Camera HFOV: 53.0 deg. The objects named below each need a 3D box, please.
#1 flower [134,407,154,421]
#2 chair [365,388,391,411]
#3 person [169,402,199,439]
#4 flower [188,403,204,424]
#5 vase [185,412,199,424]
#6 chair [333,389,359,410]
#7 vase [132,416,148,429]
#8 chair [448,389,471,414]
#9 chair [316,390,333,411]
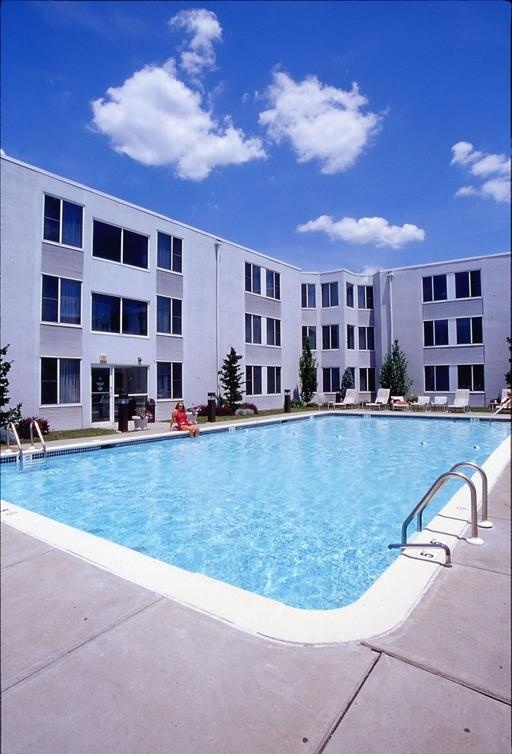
[{"bbox_3d":[-4.039,1.296,18.557,0.512,0.759,0.588,5,-6,-29],"label":"flower"},{"bbox_3d":[6.257,1.095,26.006,0.665,1.194,1.237,-1,-1,40],"label":"chair"},{"bbox_3d":[-2.368,1.322,16.621,0.791,0.938,1.872,-1,-1,-18],"label":"person"},{"bbox_3d":[-2.553,1.469,21.047,0.517,0.632,0.539,3,-6,-36],"label":"flower"},{"bbox_3d":[-2.578,1.585,20.498,0.365,0.441,0.441,3,-6,-32],"label":"vase"},{"bbox_3d":[4.891,1.167,27.359,0.754,1.263,1.448,-2,-2,35],"label":"chair"},{"bbox_3d":[-3.889,1.521,17.350,0.314,0.361,0.395,-1,-5,4],"label":"vase"},{"bbox_3d":[9.505,1.128,24.255,0.781,1.507,1.400,-2,-1,35],"label":"chair"},{"bbox_3d":[4.096,1.322,30.170,0.860,1.608,0.763,1,-1,-44],"label":"chair"}]
